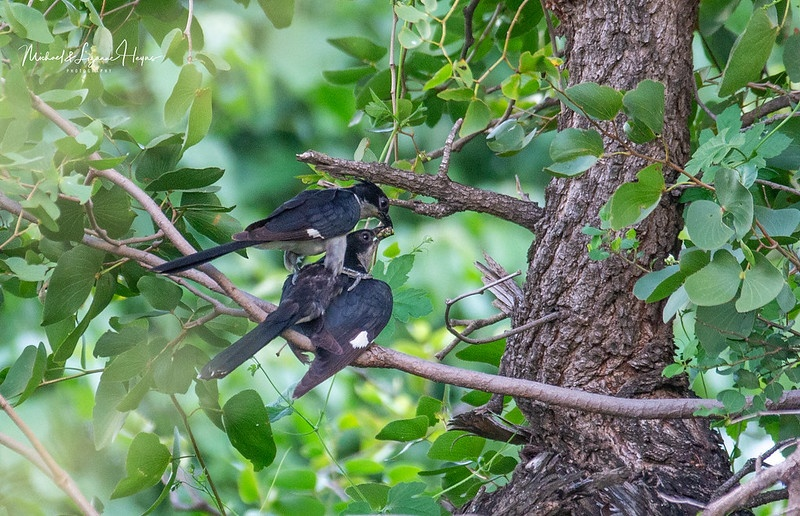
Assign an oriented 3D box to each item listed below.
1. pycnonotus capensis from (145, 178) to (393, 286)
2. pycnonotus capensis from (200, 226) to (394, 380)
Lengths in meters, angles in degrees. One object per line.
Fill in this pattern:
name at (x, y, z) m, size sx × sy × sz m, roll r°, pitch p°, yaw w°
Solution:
pycnonotus capensis at (-0.489, -0.092, 3.882) m, size 1.232 × 0.454 × 0.275 m, roll -9°, pitch 10°, yaw -42°
pycnonotus capensis at (-0.386, 0.190, 3.766) m, size 0.346 × 0.368 × 1.076 m, roll -5°, pitch 41°, yaw 25°
